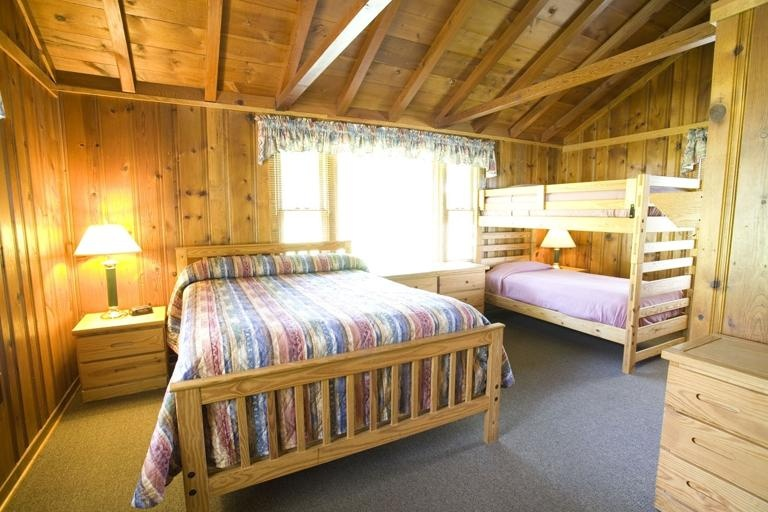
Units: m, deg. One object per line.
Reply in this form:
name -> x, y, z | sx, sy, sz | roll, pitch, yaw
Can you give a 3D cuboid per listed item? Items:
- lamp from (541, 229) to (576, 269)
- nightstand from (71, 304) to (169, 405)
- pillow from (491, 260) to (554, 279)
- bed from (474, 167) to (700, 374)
lamp -> 2.293, -0.073, 6.851 | 0.589, 0.576, 0.545 | 2, 10, 10
nightstand -> -2.253, 0.798, 4.754 | 1.005, 0.861, 0.694 | -3, 3, -27
pillow -> 1.690, 0.152, 6.364 | 0.553, 0.127, 0.307 | -7, 13, -16
bed -> 2.109, 0.171, 5.378 | 1.512, 1.759, 2.430 | -2, 3, -32
